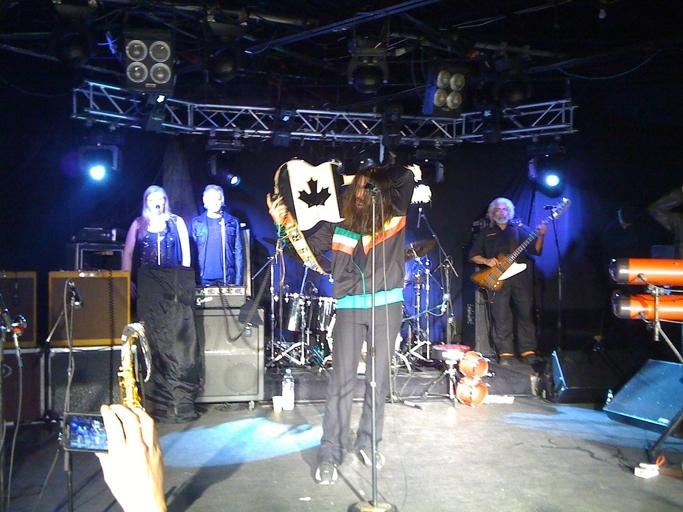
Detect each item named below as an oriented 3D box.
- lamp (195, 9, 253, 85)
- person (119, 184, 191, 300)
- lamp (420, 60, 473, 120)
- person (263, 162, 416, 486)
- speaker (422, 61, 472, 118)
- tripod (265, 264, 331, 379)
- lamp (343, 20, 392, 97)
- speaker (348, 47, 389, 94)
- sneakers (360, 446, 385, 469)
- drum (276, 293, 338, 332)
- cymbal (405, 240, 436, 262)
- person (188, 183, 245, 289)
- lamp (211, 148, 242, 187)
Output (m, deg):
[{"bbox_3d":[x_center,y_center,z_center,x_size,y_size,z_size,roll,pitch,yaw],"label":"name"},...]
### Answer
[{"bbox_3d":[-1.344,-2.370,7.059,0.609,0.616,1.021,-3,-34,-21],"label":"lamp"},{"bbox_3d":[-2.125,-0.317,7.098,0.717,0.930,0.282,-3,10,-21],"label":"person"},{"bbox_3d":[1.306,-2.060,7.794,0.550,0.628,0.266,1,9,7],"label":"lamp"},{"bbox_3d":[0.109,0.538,5.185,1.147,2.557,0.854,-2,9,-10],"label":"person"},{"bbox_3d":[1.293,-2.051,7.781,0.569,0.534,0.150,0,25,-17],"label":"speaker"},{"bbox_3d":[-0.533,0.860,8.280,1.154,1.384,1.408,1,-6,-6],"label":"tripod"},{"bbox_3d":[0.280,-2.315,7.402,0.685,1.083,0.650,2,10,16],"label":"lamp"},{"bbox_3d":[0.308,-2.166,7.322,0.357,0.474,0.197,-1,12,1],"label":"speaker"},{"bbox_3d":[0.267,1.708,5.308,0.355,0.146,0.143,-21,-38,41],"label":"sneakers"},{"bbox_3d":[-0.438,0.719,8.008,0.511,0.438,0.614,-14,-26,43],"label":"drum"},{"bbox_3d":[0.957,-0.081,7.653,0.438,0.230,0.060,-21,-17,-23],"label":"cymbal"},{"bbox_3d":[-1.571,-0.257,7.963,0.624,1.269,0.512,-2,9,-13],"label":"person"},{"bbox_3d":[-1.687,-1.240,9.034,0.421,0.518,0.613,-1,9,-10],"label":"lamp"}]
